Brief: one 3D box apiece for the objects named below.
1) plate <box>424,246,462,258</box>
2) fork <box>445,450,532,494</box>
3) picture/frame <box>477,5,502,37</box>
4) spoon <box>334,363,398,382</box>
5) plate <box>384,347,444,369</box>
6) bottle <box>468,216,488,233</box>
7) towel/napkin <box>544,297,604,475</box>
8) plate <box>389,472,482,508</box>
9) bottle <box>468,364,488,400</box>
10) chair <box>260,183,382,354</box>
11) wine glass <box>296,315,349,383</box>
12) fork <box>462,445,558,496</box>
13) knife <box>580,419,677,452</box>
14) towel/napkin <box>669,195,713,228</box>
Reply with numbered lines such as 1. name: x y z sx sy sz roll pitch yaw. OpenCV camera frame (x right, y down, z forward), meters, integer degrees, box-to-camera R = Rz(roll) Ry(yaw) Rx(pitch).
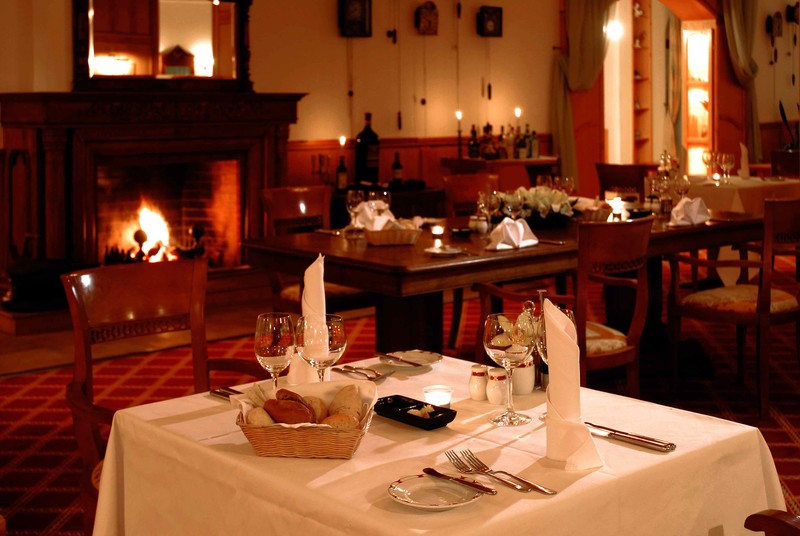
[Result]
1. plate: 0.233 -0.085 3.486 0.185 0.046 0.206 -3 7 8
2. fork: 0.190 0.470 1.560 0.060 0.038 0.243 -5 15 -30
3. picture/frame: 1.136 -3.146 8.492 0.384 0.418 0.124 3 -1 -40
4. spoon: -0.113 0.335 2.166 0.186 0.032 0.070 7 14 40
5. plate: 0.053 0.325 2.419 0.153 0.025 0.161 2 11 -5
6. bottle: 0.503 -0.280 4.235 0.094 0.086 0.101 1 6 20
7. towel/napkin: 0.429 0.271 1.657 0.133 0.381 0.246 -2 7 12
8. plate: 0.077 0.491 1.455 0.196 0.035 0.133 -1 8 22
9. bottle: 0.236 0.339 2.023 0.055 0.088 0.083 0 -1 5
10. chair: -0.575 0.020 4.505 0.695 1.054 0.691 18 21 37
11. wine glass: -0.227 0.269 1.920 0.127 0.311 0.127 1 14 -9
12. fork: 0.259 0.475 1.556 0.035 0.040 0.268 -13 12 -28
13. knife: 0.588 0.430 1.705 0.246 0.030 0.027 16 28 42
14. towel/napkin: 1.908 -0.369 4.370 0.230 0.111 0.182 -13 13 -33
